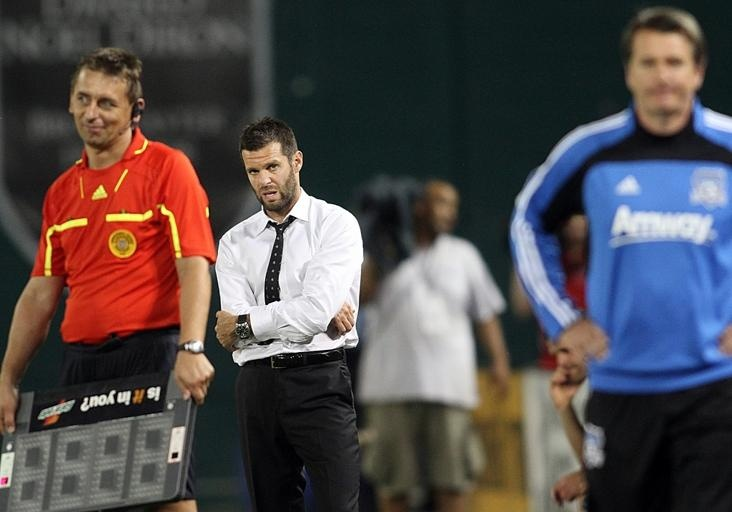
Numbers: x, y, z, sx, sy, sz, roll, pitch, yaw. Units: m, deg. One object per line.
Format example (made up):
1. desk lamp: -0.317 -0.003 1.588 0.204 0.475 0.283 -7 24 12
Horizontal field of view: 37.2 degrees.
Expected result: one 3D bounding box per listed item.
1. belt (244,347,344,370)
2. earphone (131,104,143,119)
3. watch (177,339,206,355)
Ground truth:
1. belt: -0.343 0.492 5.195 0.474 0.093 0.113 -1 1 -2
2. earphone: -1.124 -0.716 5.340 0.047 0.069 0.026 4 9 4
3. watch: -0.817 0.432 5.089 0.108 0.070 0.091 1 -9 -38
